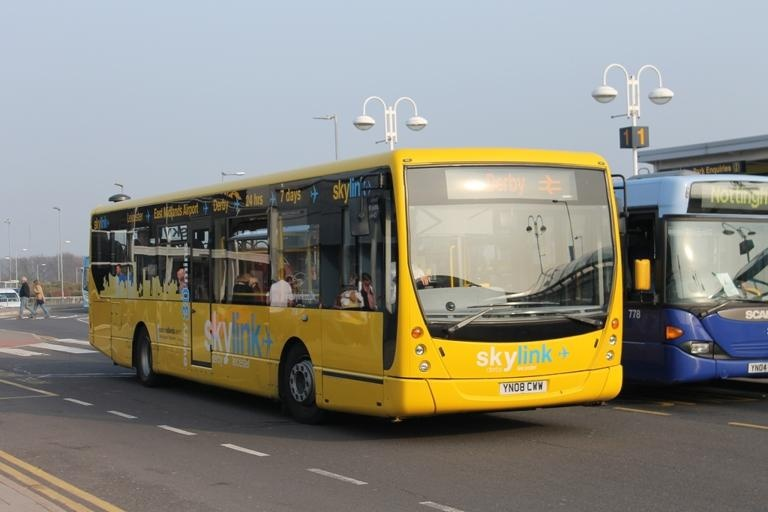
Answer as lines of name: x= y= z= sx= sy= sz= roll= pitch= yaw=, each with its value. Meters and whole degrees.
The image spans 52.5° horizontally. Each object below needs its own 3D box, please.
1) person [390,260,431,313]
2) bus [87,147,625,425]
person: x=0.389 y=0.409 z=10.525 sx=0.620 sy=0.374 sz=0.918 roll=-2 pitch=1 yaw=0
bus: x=-1.627 y=0.379 z=14.846 sx=3.956 sy=3.945 sz=11.578 roll=1 pitch=-4 yaw=-34
